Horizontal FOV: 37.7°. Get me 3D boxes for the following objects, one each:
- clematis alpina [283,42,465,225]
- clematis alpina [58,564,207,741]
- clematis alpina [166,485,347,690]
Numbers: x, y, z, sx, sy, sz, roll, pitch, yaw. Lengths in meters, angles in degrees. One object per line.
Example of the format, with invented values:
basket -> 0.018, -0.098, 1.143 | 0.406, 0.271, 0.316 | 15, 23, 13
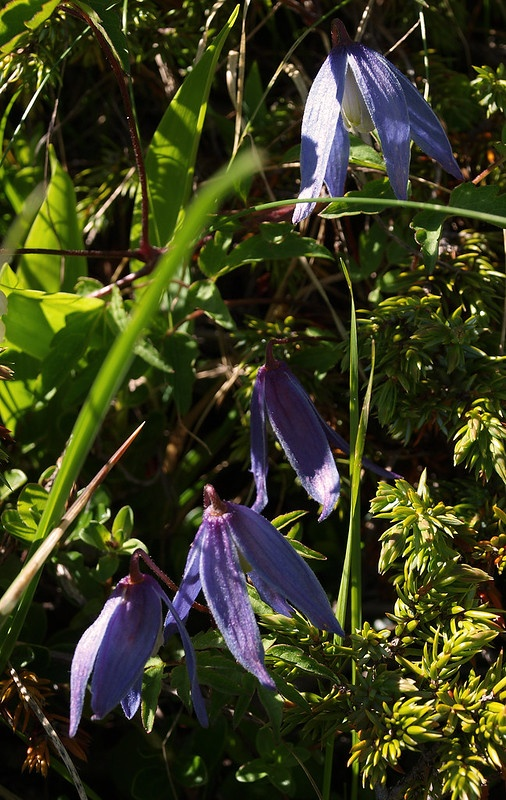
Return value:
clematis alpina -> 0.108, -0.270, 0.701 | 0.154, 0.155, 0.146 | -15, 33, -1
clematis alpina -> -0.089, 0.202, 0.615 | 0.102, 0.138, 0.094 | -7, -23, 19
clematis alpina -> 0.005, 0.145, 0.583 | 0.144, 0.146, 0.063 | 23, 5, 31
